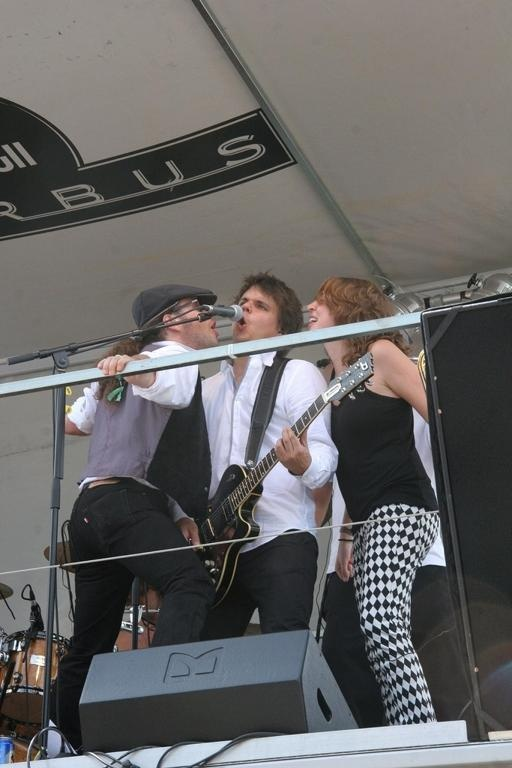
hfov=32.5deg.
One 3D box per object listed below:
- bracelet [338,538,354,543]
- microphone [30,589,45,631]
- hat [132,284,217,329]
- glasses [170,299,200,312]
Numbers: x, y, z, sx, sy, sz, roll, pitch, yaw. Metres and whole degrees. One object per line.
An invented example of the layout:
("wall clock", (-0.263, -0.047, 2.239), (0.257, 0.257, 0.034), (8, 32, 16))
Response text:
("bracelet", (0.232, 0.412, 2.308), (0.038, 0.016, 0.005), (-9, -7, 23))
("microphone", (-0.617, 0.635, 2.450), (0.032, 0.123, 0.077), (-6, -7, -18))
("hat", (-0.323, -0.304, 3.153), (0.277, 0.122, 0.186), (-27, -8, 3))
("glasses", (-0.249, -0.275, 3.094), (0.081, 0.023, 0.101), (-8, 6, -10))
